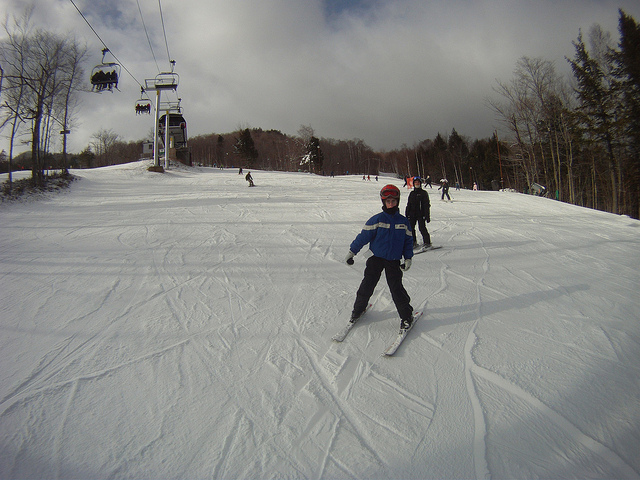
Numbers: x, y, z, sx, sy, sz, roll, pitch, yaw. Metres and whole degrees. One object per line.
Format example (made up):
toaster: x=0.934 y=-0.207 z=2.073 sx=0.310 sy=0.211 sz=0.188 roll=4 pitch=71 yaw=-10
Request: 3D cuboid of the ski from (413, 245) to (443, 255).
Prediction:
ski: x=2.976 y=0.244 z=10.828 sx=0.945 sy=0.085 sz=0.154 roll=-7 pitch=11 yaw=-37

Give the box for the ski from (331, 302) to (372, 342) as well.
ski: x=0.610 y=1.394 z=7.270 sx=0.229 sy=0.164 sz=1.793 roll=6 pitch=22 yaw=24

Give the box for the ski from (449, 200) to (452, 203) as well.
ski: x=6.716 y=-1.993 z=20.682 sx=0.176 sy=0.051 sz=0.217 roll=4 pitch=55 yaw=31

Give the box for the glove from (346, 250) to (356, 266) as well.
glove: x=0.506 y=0.314 z=6.857 sx=0.128 sy=0.209 sz=0.202 roll=14 pitch=-23 yaw=30

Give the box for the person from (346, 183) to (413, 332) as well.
person: x=1.075 y=0.301 z=6.894 sx=1.046 sy=2.461 sz=0.382 roll=2 pitch=7 yaw=17

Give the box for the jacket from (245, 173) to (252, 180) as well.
jacket: x=-4.788 y=-4.337 z=27.040 sx=0.453 sy=0.535 sz=0.403 roll=-1 pitch=-1 yaw=-34

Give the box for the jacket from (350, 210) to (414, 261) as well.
jacket: x=1.122 y=-0.079 z=6.920 sx=1.081 sy=1.120 sz=0.513 roll=4 pitch=15 yaw=-5

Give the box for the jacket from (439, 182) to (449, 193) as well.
jacket: x=6.979 y=-2.974 z=22.617 sx=0.414 sy=0.839 sz=1.455 roll=-3 pitch=4 yaw=9

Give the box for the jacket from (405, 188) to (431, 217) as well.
jacket: x=2.665 y=-1.029 z=10.963 sx=0.607 sy=0.802 sz=0.411 roll=2 pitch=7 yaw=14

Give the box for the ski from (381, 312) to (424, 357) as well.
ski: x=1.381 y=1.621 z=6.740 sx=0.141 sy=0.130 sz=1.104 roll=-11 pitch=19 yaw=37

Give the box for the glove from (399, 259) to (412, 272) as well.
glove: x=1.439 y=0.433 z=6.801 sx=0.131 sy=0.192 sz=0.180 roll=2 pitch=4 yaw=-22
